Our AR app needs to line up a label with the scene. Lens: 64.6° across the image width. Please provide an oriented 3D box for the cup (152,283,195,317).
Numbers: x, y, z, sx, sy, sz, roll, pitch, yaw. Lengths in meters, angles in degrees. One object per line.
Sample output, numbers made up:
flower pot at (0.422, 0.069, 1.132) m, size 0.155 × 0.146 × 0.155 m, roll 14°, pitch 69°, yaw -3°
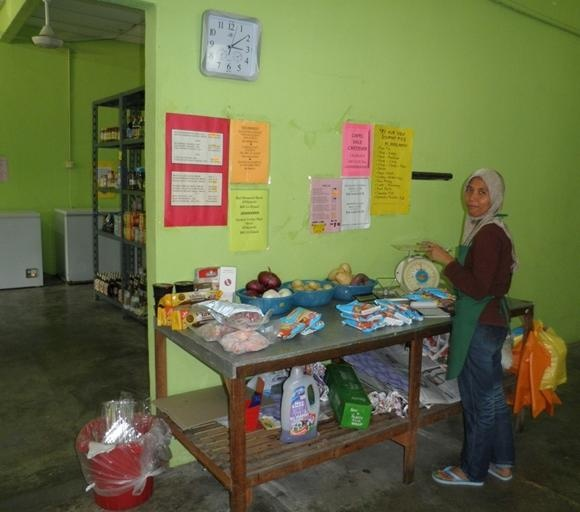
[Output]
cup at (-0.585, 0.208, 2.339) m, size 0.157 × 0.156 × 0.160 m, roll 1°, pitch 7°, yaw 0°

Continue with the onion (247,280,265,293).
onion at (-0.192, 0.161, 2.461) m, size 0.070 × 0.034 × 0.068 m, roll 2°, pitch 2°, yaw 2°

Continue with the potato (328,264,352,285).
potato at (0.314, 0.108, 2.801) m, size 0.122 × 0.048 × 0.122 m, roll 16°, pitch 29°, yaw 22°

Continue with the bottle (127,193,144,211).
bottle at (-1.650, -0.581, 4.928) m, size 0.123 × 0.156 × 0.164 m, roll -9°, pitch 15°, yaw -40°

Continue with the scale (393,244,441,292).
scale at (0.824, 0.086, 2.999) m, size 0.238 × 0.293 × 0.167 m, roll -4°, pitch 9°, yaw -7°

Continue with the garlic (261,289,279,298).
garlic at (-0.099, 0.194, 2.392) m, size 0.051 × 0.028 × 0.049 m, roll -2°, pitch 15°, yaw -13°

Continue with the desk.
desk at (0.012, 0.736, 2.402) m, size 1.260 × 0.885 × 0.803 m, roll -5°, pitch 11°, yaw -32°

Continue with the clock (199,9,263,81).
clock at (-0.307, -1.080, 2.382) m, size 0.353 × 0.297 × 0.028 m, roll 19°, pitch 28°, yaw 22°

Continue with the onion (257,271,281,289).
onion at (-0.118, 0.130, 2.551) m, size 0.097 × 0.095 × 0.098 m, roll 16°, pitch -4°, yaw 18°

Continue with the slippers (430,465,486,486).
slippers at (0.882, 1.157, 2.425) m, size 0.206 × 0.059 × 0.107 m, roll 3°, pitch 3°, yaw 13°

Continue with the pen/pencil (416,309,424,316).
pen/pencil at (0.685, 0.298, 2.448) m, size 0.023 × 0.011 × 0.030 m, roll 0°, pitch 16°, yaw -12°

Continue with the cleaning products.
cleaning products at (0.043, 0.671, 2.111) m, size 0.184 × 0.330 × 0.112 m, roll -1°, pitch 10°, yaw -8°
